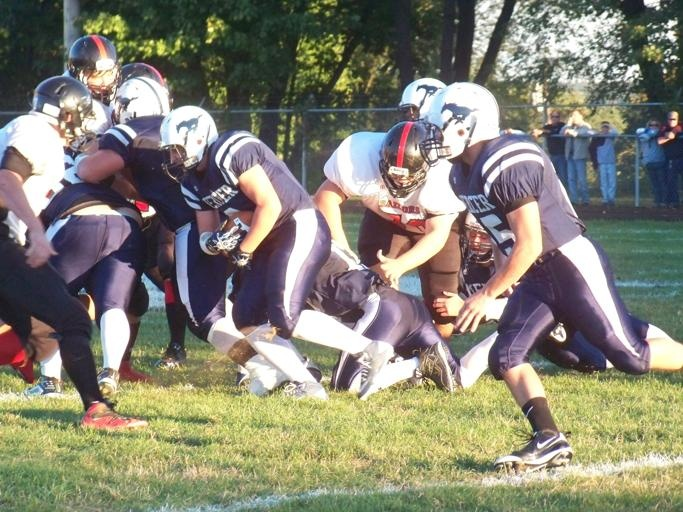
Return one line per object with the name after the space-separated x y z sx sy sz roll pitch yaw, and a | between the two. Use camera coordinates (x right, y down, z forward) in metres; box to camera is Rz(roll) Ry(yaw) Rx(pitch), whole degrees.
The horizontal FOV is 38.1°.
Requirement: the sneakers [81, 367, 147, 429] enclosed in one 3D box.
-1.326 0.892 5.730 0.403 0.297 0.161 3 -3 2 | sneakers

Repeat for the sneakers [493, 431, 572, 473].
1.058 1.052 5.392 0.469 0.243 0.174 -4 -2 -10 | sneakers

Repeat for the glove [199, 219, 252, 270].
-0.728 -0.072 6.197 0.301 0.284 0.123 -39 -13 30 | glove

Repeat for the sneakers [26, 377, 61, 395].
-1.926 0.837 6.340 0.265 0.121 0.100 5 -2 -7 | sneakers

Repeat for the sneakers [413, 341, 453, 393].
0.617 0.719 6.539 0.443 0.190 0.149 22 -19 -29 | sneakers

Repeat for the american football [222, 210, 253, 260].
-0.622 -0.102 6.233 0.141 0.124 0.344 -14 -30 -30 | american football
